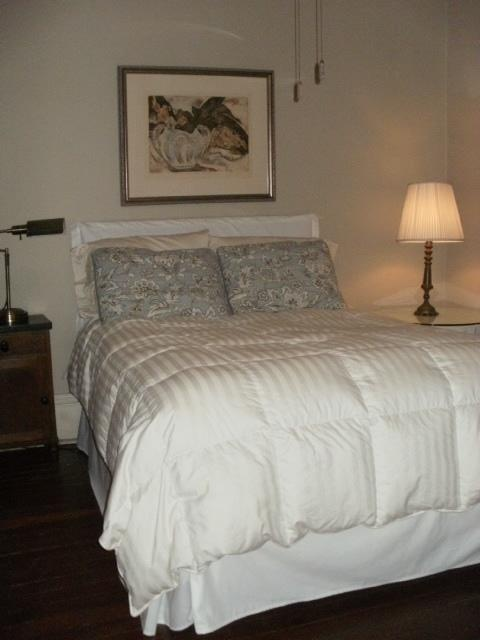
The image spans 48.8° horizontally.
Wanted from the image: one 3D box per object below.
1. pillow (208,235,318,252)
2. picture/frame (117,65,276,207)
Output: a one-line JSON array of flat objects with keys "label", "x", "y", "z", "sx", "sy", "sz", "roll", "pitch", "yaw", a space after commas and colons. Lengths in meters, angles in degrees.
[{"label": "pillow", "x": 0.052, "y": -0.434, "z": 2.894, "sx": 0.527, "sy": 0.060, "sz": 0.122, "roll": -6, "pitch": 45, "yaw": -14}, {"label": "picture/frame", "x": -0.286, "y": -1.097, "z": 3.071, "sx": 0.851, "sy": 0.678, "sz": 0.038, "roll": -2, "pitch": 7, "yaw": -14}]
